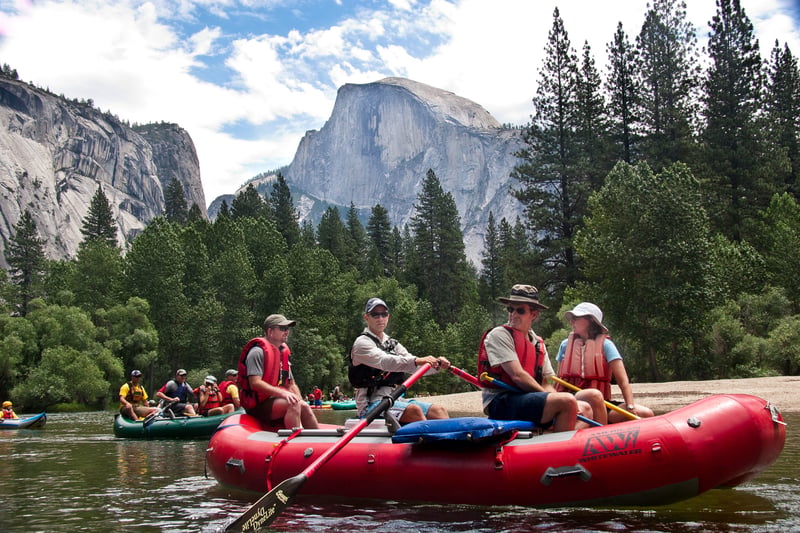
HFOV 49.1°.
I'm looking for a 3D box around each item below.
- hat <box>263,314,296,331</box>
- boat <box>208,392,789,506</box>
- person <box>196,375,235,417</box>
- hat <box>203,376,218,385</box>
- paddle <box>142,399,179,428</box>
[{"bbox_3d":[-3.619,1.679,26.367,0.930,0.474,0.606,-2,-2,-3],"label":"hat"},{"bbox_3d":[2.896,5.056,24.124,14.557,2.956,1.091,0,4,6],"label":"boat"},{"bbox_3d":[-7.185,5.302,34.056,1.393,2.020,1.037,-6,-5,15],"label":"person"},{"bbox_3d":[-7.406,4.358,34.203,0.364,0.323,1.083,-2,5,-17],"label":"hat"},{"bbox_3d":[-9.145,5.834,33.716,0.379,1.018,0.984,51,-20,-22],"label":"paddle"}]
